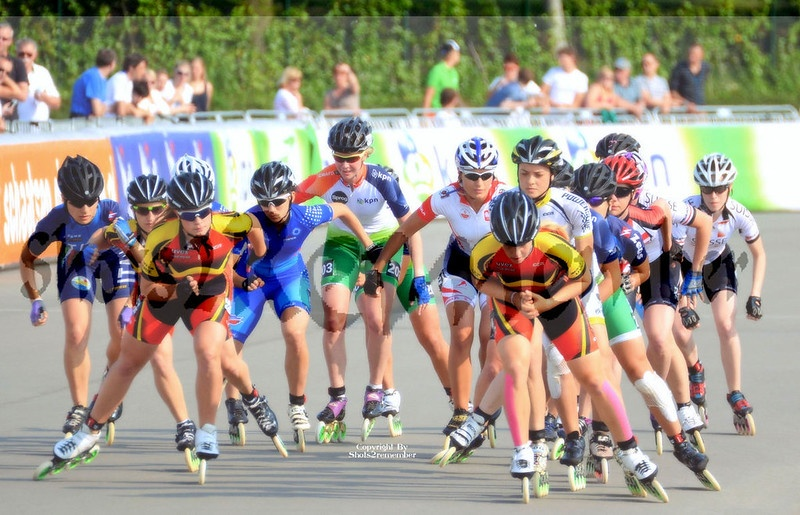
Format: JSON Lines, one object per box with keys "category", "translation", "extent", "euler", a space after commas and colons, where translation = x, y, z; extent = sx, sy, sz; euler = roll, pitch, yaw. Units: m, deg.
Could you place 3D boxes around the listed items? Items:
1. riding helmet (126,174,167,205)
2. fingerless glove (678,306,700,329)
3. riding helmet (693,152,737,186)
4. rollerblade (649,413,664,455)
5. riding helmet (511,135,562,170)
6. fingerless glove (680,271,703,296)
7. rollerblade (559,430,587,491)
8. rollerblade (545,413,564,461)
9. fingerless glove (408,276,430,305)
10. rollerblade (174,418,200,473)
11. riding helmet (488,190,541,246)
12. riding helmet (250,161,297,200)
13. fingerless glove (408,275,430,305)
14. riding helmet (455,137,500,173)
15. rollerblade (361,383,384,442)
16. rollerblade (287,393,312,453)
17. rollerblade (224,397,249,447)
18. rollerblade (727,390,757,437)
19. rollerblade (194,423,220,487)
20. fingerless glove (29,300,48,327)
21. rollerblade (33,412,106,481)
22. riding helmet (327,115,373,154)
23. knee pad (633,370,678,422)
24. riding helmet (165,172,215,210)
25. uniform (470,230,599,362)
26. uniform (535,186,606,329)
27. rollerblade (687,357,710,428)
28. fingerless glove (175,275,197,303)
{"category": "riding helmet", "translation": [-2.067, -0.565, 8.327], "extent": [0.218, 0.170, 0.343], "euler": [2, 41, -5]}
{"category": "fingerless glove", "translation": [2.516, 0.515, 8.837], "extent": [0.143, 0.182, 0.053], "euler": [-47, -29, 20]}
{"category": "riding helmet", "translation": [2.902, -0.778, 9.378], "extent": [0.344, 0.304, 0.206], "euler": [3, 13, 12]}
{"category": "rollerblade", "translation": [2.148, 1.472, 8.516], "extent": [0.090, 0.176, 0.488], "euler": [-17, -38, -5]}
{"category": "riding helmet", "translation": [1.112, -0.826, 8.257], "extent": [0.383, 0.263, 0.339], "euler": [1, 13, 6]}
{"category": "fingerless glove", "translation": [2.646, 0.233, 9.204], "extent": [0.178, 0.263, 0.070], "euler": [6, -13, -18]}
{"category": "rollerblade", "translation": [1.370, 1.557, 7.998], "extent": [0.194, 0.432, 0.359], "euler": [2, 13, 10]}
{"category": "rollerblade", "translation": [1.312, 1.486, 8.575], "extent": [0.218, 0.298, 0.119], "euler": [-5, -6, 9]}
{"category": "fingerless glove", "translation": [0.162, 0.287, 8.962], "extent": [0.167, 0.233, 0.058], "euler": [14, -18, -35]}
{"category": "rollerblade", "translation": [-1.743, 1.477, 8.251], "extent": [0.148, 0.227, 0.464], "euler": [0, 5, -15]}
{"category": "riding helmet", "translation": [0.839, -0.288, 7.401], "extent": [0.269, 0.439, 0.153], "euler": [-1, -21, 8]}
{"category": "riding helmet", "translation": [-1.065, -0.625, 8.518], "extent": [0.353, 0.319, 0.199], "euler": [-3, 13, -12]}
{"category": "fingerless glove", "translation": [0.156, 0.295, 8.953], "extent": [0.168, 0.232, 0.058], "euler": [18, -25, -36]}
{"category": "riding helmet", "translation": [0.641, -0.838, 8.525], "extent": [0.327, 0.285, 0.221], "euler": [-1, 13, -2]}
{"category": "rollerblade", "translation": [-0.255, 1.329, 8.966], "extent": [0.144, 0.217, 0.468], "euler": [2, 32, 6]}
{"category": "rollerblade", "translation": [-0.878, 1.393, 8.722], "extent": [0.146, 0.499, 0.206], "euler": [-7, -7, -18]}
{"category": "rollerblade", "translation": [-1.403, 1.396, 8.789], "extent": [0.138, 0.473, 0.199], "euler": [-7, -2, -3]}
{"category": "rollerblade", "translation": [2.983, 1.329, 8.922], "extent": [0.140, 0.187, 0.426], "euler": [-19, 42, 9]}
{"category": "rollerblade", "translation": [-1.493, 1.462, 7.954], "extent": [0.147, 0.228, 0.478], "euler": [-2, 11, -9]}
{"category": "fingerless glove", "translation": [-3.145, 0.477, 8.850], "extent": [0.104, 0.312, 0.395], "euler": [-4, 14, -19]}
{"category": "rollerblade", "translation": [-2.680, 1.544, 8.286], "extent": [0.263, 0.180, 0.600], "euler": [-51, -4, 33]}
{"category": "riding helmet", "translation": [-0.446, -1.063, 9.044], "extent": [0.371, 0.296, 0.247], "euler": [-2, 13, -7]}
{"category": "knee pad", "translation": [1.997, 1.061, 8.060], "extent": [0.234, 0.422, 0.164], "euler": [-34, -1, -18]}
{"category": "riding helmet", "translation": [-1.622, -0.509, 7.869], "extent": [0.352, 0.265, 0.246], "euler": [-3, 13, -12]}
{"category": "uniform", "translation": [1.053, 0.263, 7.792], "extent": [0.767, 1.017, 1.013], "euler": [-8, -33, 26]}
{"category": "uniform", "translation": [1.420, 0.050, 8.171], "extent": [0.461, 1.131, 0.378], "euler": [-1, 19, 39]}
{"category": "rollerblade", "translation": [2.647, 1.195, 9.161], "extent": [0.144, 0.542, 0.228], "euler": [-5, -2, 15]}
{"category": "fingerless glove", "translation": [-1.678, 0.248, 7.920], "extent": [0.128, 0.193, 0.062], "euler": [8, 7, 32]}
